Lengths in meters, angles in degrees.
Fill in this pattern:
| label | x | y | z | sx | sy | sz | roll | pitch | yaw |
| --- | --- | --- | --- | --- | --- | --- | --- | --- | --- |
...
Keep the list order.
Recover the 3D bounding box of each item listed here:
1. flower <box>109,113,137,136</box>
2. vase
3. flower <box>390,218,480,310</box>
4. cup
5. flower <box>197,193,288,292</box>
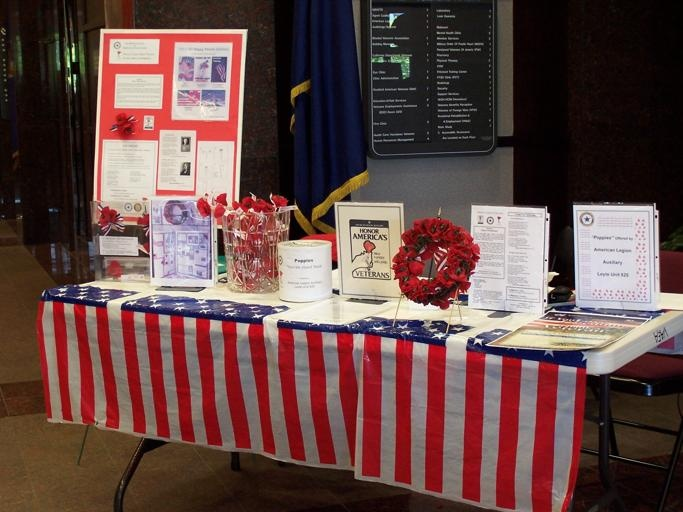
| label | x | y | z | sx | sy | sz | roll | pitch | yaw |
| --- | --- | --- | --- | --- | --- | --- | --- | --- | --- |
| flower | -0.973 | -0.588 | 2.678 | 0.100 | 0.103 | 0.094 | 31 | 12 | 34 |
| vase | -0.355 | -0.009 | 2.459 | 0.264 | 0.315 | 0.278 | 2 | 3 | 8 |
| flower | 0.297 | 0.014 | 1.903 | 0.227 | 0.283 | 0.178 | 6 | 10 | 43 |
| cup | -0.301 | -0.015 | 2.411 | 0.297 | 0.342 | 0.311 | 0 | 0 | 0 |
| flower | -0.372 | -0.063 | 2.443 | 0.378 | 0.392 | 0.251 | -4 | 8 | -28 |
